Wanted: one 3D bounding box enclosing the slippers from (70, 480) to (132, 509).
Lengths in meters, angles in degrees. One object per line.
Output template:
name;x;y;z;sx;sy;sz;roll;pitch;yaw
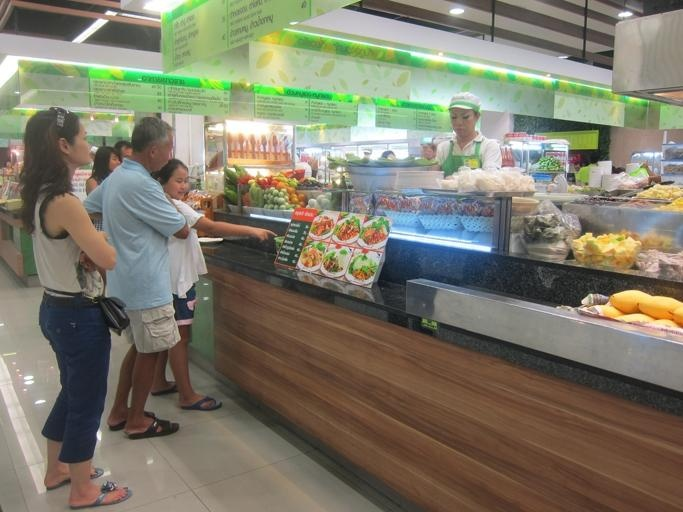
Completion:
slippers;-1.340;1.328;2.563;0.235;0.069;0.118;0;11;-18

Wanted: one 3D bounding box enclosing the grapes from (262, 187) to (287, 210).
grapes;-0.575;-0.450;3.916;0.099;0.223;0.215;5;43;-43

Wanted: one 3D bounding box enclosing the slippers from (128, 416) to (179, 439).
slippers;-1.313;1.192;3.210;0.326;0.106;0.117;-1;6;-20

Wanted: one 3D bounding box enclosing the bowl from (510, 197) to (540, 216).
bowl;0.937;-0.244;2.317;0.153;0.089;0.086;1;13;5

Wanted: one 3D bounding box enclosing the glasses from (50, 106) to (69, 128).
glasses;-1.369;-0.666;2.231;0.072;0.102;0.116;-7;14;-28

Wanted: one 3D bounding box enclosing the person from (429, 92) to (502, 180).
person;1.156;-1.073;4.103;0.557;0.719;1.008;2;12;10

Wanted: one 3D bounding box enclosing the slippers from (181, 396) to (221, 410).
slippers;-1.085;1.126;3.525;0.235;0.059;0.119;0;5;0

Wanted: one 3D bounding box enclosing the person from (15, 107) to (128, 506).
person;-1.436;0.321;2.421;0.443;2.116;0.560;-12;18;-40

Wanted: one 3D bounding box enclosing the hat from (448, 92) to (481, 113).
hat;1.046;-1.288;3.880;0.169;0.098;0.231;7;-4;42

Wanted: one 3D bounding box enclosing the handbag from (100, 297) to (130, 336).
handbag;-1.164;0.319;2.414;0.077;0.187;0.162;-28;13;-26
